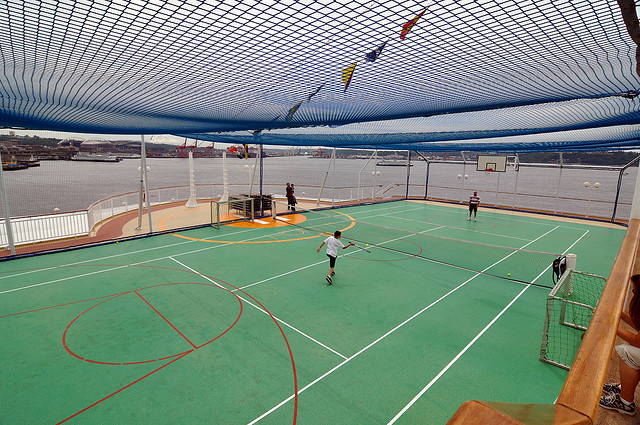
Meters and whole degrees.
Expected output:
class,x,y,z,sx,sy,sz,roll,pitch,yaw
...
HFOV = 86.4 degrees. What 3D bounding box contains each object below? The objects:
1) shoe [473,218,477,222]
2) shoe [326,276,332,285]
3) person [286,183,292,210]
class,x,y,z,sx,sy,sz,roll,pitch,yaw
shoe,11.911,0.587,26.152,0.269,0.385,0.663,-3,0,23
shoe,0.370,2.776,13.924,0.211,0.316,0.282,1,-3,0
person,-2.515,-1.499,27.559,0.360,1.497,0.762,1,-3,-8
